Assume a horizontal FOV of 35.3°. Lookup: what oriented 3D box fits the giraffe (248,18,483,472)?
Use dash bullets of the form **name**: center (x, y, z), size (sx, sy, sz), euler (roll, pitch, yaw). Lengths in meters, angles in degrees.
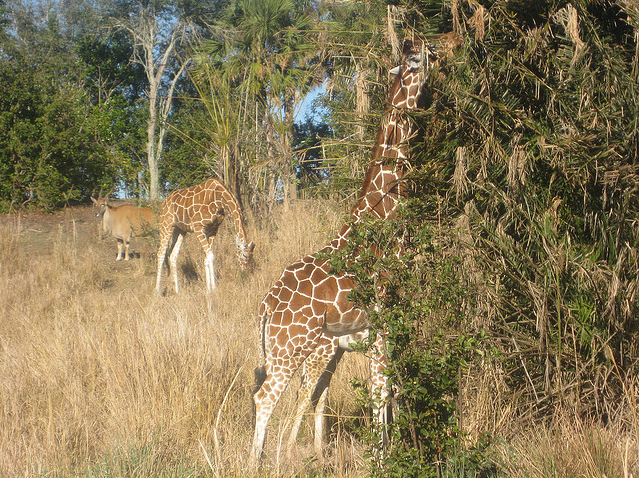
- **giraffe**: center (0.502, 0.211, 15.165), size (3.549, 6.147, 2.219), euler (-5, 12, -4)
